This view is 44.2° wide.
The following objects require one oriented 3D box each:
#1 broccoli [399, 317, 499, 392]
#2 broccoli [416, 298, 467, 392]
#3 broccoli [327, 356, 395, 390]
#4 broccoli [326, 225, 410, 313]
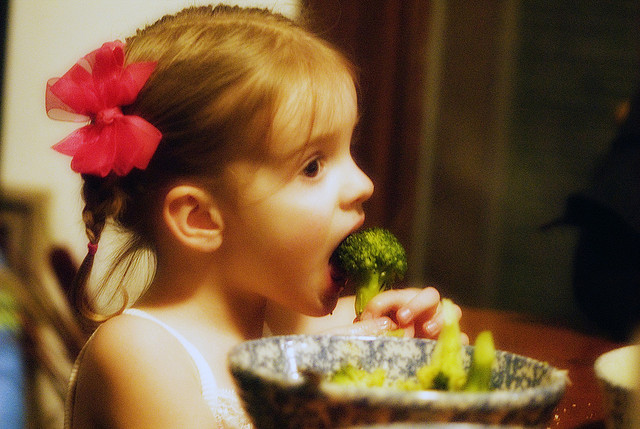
[{"bbox_3d":[0.240,0.285,1.528,0.086,0.178,0.068,36,-27,-11],"label":"broccoli"},{"bbox_3d":[0.229,0.248,1.462,0.093,0.199,0.140,5,10,8],"label":"broccoli"},{"bbox_3d":[0.076,0.316,1.475,0.126,0.036,0.132,5,11,3],"label":"broccoli"},{"bbox_3d":[0.105,0.141,1.982,0.225,0.283,0.226,-6,-9,5],"label":"broccoli"}]
